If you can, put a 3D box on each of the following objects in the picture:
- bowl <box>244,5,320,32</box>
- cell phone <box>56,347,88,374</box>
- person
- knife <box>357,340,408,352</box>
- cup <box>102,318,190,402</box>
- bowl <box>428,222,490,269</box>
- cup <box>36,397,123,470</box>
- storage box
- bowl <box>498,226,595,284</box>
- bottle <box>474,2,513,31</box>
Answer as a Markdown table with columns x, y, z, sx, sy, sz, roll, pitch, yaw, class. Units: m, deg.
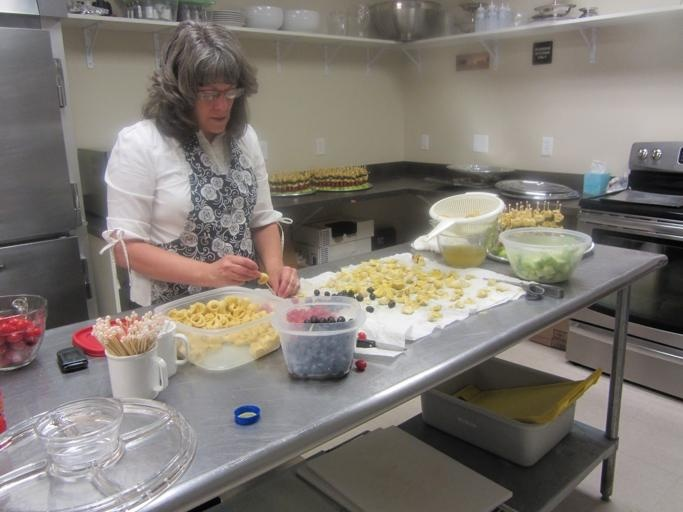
| x | y | z | sx | sy | sz | roll | pitch | yaw | class |
| --- | --- | --- | --- | --- | --- | --- | --- | --- | --- |
| -0.420 | -1.678 | 3.380 | 0.427 | 0.123 | 0.269 | -2 | 13 | -22 | bowl |
| -0.693 | 0.267 | 1.228 | 0.060 | 0.029 | 0.101 | -14 | 19 | -35 | cell phone |
| -0.469 | -0.359 | 1.719 | 0.526 | 0.888 | 0.631 | 5 | 18 | 28 | person |
| 0.103 | 0.236 | 1.256 | 0.129 | 0.024 | 0.042 | -2 | 15 | 4 | knife |
| -0.489 | 0.242 | 1.141 | 0.208 | 0.145 | 0.134 | 10 | 19 | 20 | cup |
| 0.445 | -0.076 | 1.808 | 0.185 | 0.131 | 0.182 | -4 | 19 | 1 | bowl |
| -0.500 | 0.343 | 0.920 | 0.151 | 0.097 | 0.113 | -9 | 16 | -22 | cup |
| 0.627 | 0.598 | 1.926 | 0.475 | 0.245 | 0.420 | 10 | 20 | 40 | storage box |
| 0.725 | -0.008 | 1.716 | 0.334 | 0.160 | 0.337 | -3 | 12 | 1 | bowl |
| 1.123 | -1.778 | 3.524 | 0.187 | 0.221 | 0.307 | -12 | 17 | -28 | bottle |
